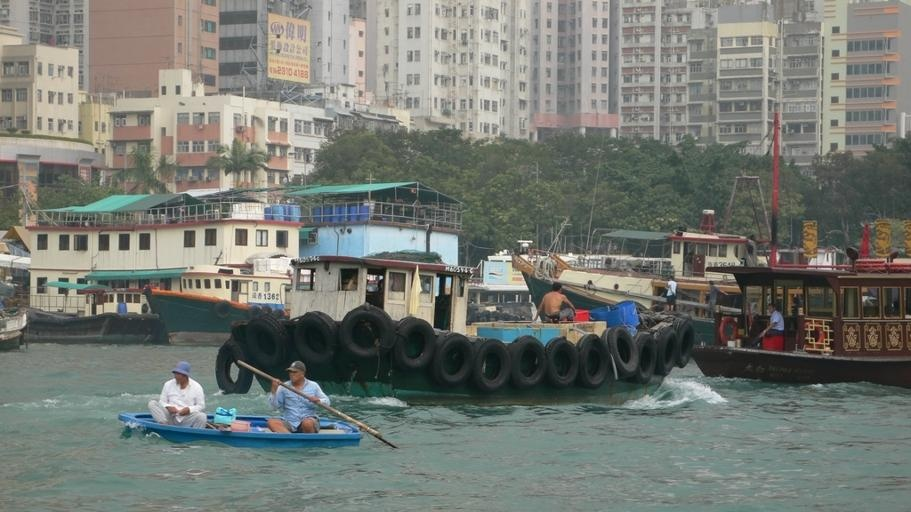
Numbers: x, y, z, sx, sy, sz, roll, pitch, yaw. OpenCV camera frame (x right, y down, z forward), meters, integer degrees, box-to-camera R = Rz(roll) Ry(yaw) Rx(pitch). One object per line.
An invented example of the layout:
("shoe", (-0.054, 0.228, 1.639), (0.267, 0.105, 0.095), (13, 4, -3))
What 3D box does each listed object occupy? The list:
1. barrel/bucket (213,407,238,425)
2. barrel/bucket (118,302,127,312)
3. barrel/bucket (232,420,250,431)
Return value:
("barrel/bucket", (-15.821, 11.054, 129.772), (1.307, 0.763, 1.223), (1, -9, 0))
("barrel/bucket", (-27.821, 4.462, 158.555), (0.772, 0.744, 0.725), (1, 2, 0))
("barrel/bucket", (-14.559, 11.644, 128.916), (0.825, 0.311, 0.767), (1, 18, 0))
